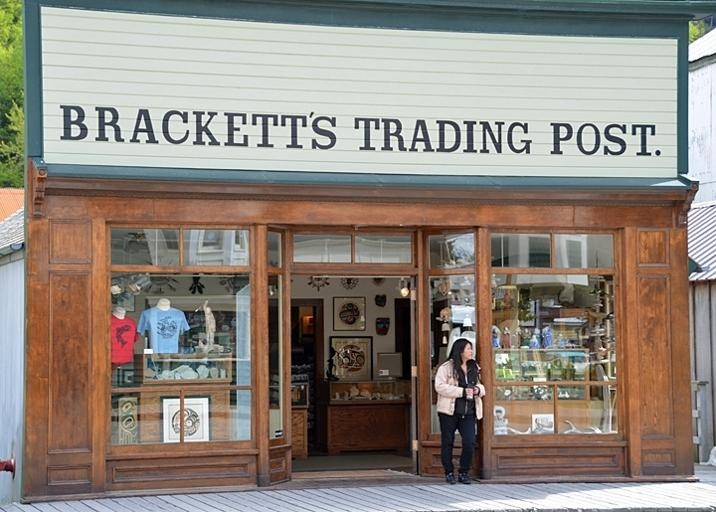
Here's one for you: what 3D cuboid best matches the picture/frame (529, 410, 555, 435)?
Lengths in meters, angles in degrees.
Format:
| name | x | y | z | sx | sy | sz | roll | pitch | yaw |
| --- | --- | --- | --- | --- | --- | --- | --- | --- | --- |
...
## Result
| name | x | y | z | sx | sy | sz | roll | pitch | yaw |
| --- | --- | --- | --- | --- | --- | --- | --- | --- | --- |
| picture/frame | 2.642 | 2.407 | 14.457 | 0.387 | 0.397 | 0.045 | 0 | -3 | -8 |

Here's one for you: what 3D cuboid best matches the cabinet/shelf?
| name | x | y | z | sx | sy | sz | roll | pitch | yaw |
| --- | --- | --- | --- | --- | --- | --- | --- | --- | --- |
| cabinet/shelf | 2.616 | 1.940 | 14.506 | 1.283 | 0.983 | 0.387 | 1 | -7 | -8 |

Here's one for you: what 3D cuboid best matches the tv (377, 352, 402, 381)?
| name | x | y | z | sx | sy | sz | roll | pitch | yaw |
| --- | --- | --- | --- | --- | --- | --- | --- | --- | --- |
| tv | 0.560 | 2.024 | 18.581 | 0.499 | 0.419 | 0.109 | 0 | -12 | -9 |

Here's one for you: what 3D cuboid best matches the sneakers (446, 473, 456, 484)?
| name | x | y | z | sx | sy | sz | roll | pitch | yaw |
| --- | --- | --- | --- | --- | --- | --- | --- | --- | --- |
| sneakers | 1.306 | 3.113 | 14.050 | 0.141 | 0.141 | 0.079 | -1 | -6 | -2 |

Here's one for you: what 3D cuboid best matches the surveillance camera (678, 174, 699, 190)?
| name | x | y | z | sx | sy | sz | roll | pitch | yaw |
| --- | --- | --- | --- | --- | --- | --- | --- | --- | --- |
| surveillance camera | 4.852 | -1.076 | 14.631 | 0.150 | 0.167 | 0.320 | -3 | 22 | -33 |

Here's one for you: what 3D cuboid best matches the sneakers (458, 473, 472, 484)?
| name | x | y | z | sx | sy | sz | roll | pitch | yaw |
| --- | --- | --- | --- | --- | --- | --- | --- | --- | --- |
| sneakers | 1.524 | 3.111 | 14.033 | 0.217 | 0.152 | 0.144 | 0 | -6 | -16 |

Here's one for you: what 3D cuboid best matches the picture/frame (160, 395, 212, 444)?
| name | x | y | z | sx | sy | sz | roll | pitch | yaw |
| --- | --- | --- | --- | --- | --- | --- | --- | --- | --- |
| picture/frame | -2.398 | 2.252 | 13.719 | 0.748 | 0.637 | 0.053 | -1 | -6 | -10 |
